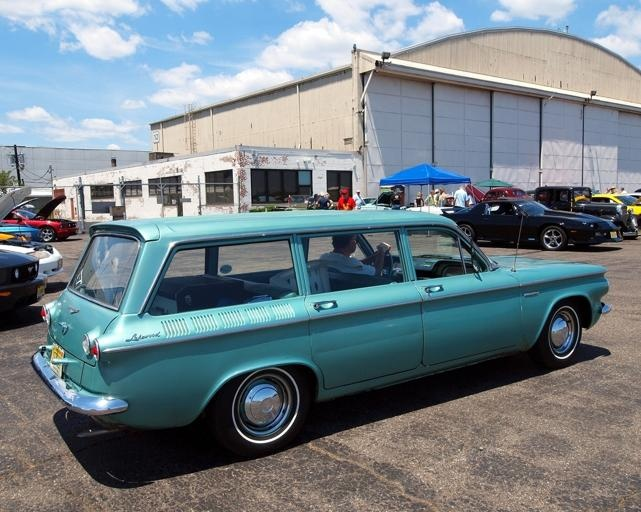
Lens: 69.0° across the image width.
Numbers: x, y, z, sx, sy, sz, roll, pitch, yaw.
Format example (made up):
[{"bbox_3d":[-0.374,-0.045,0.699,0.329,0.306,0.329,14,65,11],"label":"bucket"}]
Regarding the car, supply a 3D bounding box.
[{"bbox_3d":[0.186,0.248,4.181,4.764,1.176,1.852,-7,8,-31],"label":"car"}]
